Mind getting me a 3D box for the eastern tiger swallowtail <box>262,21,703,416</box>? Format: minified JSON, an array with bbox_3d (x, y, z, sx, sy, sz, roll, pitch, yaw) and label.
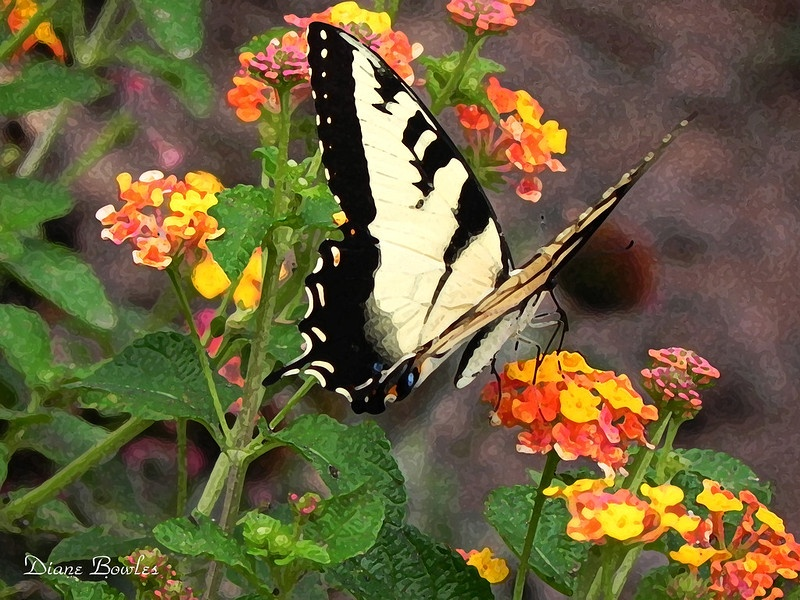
[{"bbox_3d":[0.065,-0.083,1.932,0.877,0.720,0.509,30,-12,16],"label":"eastern tiger swallowtail"}]
